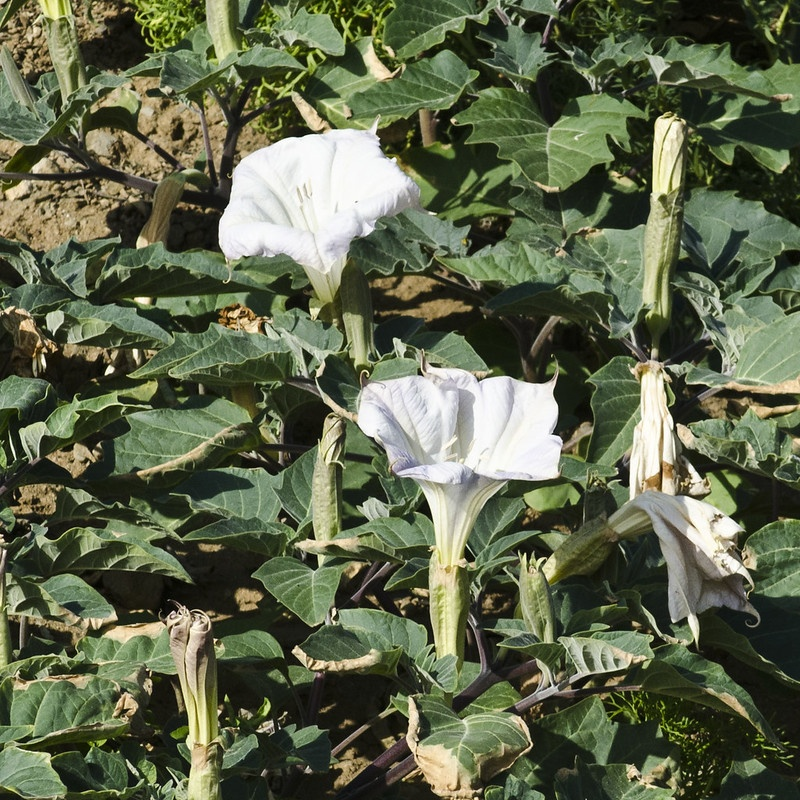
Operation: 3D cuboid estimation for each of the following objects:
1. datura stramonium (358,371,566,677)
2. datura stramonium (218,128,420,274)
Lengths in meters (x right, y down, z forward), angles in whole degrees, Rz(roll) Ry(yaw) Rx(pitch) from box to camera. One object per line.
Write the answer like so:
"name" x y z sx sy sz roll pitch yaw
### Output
"datura stramonium" 0.194 0.278 2.705 0.441 0.728 0.403 -10 11 6
"datura stramonium" -0.230 -0.557 3.214 0.545 0.402 0.526 -8 9 2
